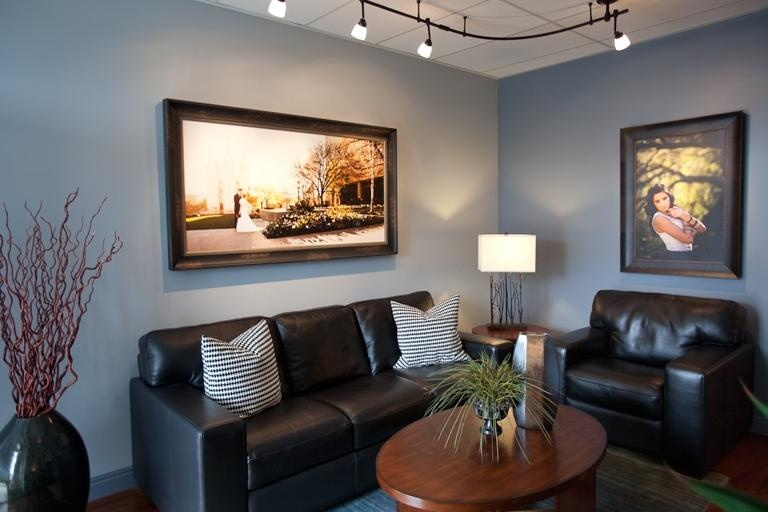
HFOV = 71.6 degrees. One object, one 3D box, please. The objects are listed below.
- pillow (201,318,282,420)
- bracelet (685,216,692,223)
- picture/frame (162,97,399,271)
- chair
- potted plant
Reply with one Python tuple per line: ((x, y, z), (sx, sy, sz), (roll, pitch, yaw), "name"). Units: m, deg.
((-0.983, 0.794, 3.633), (0.524, 0.519, 0.270), (-3, -31, -44), "pillow")
((2.627, -0.316, 4.592), (0.007, 0.064, 0.047), (-8, 8, -42), "bracelet")
((-0.897, -0.594, 4.298), (1.510, 0.894, 0.065), (-3, 5, -36), "picture/frame")
((2.121, 0.864, 4.499), (1.234, 1.429, 1.696), (0, 1, -37), "chair")
((0.700, 0.883, 3.408), (0.643, 0.393, 0.628), (1, 0, -37), "potted plant")
